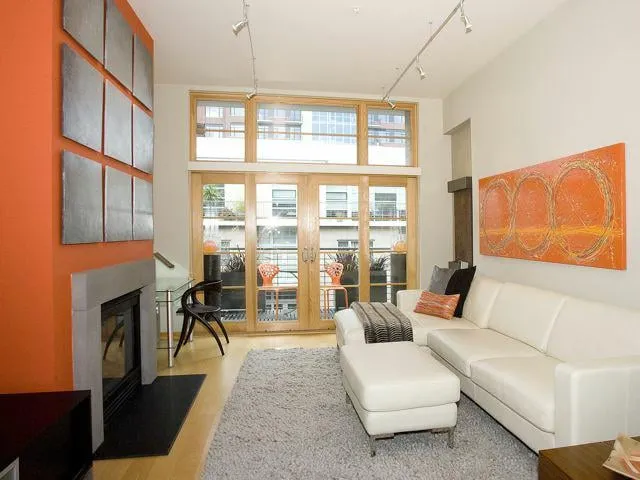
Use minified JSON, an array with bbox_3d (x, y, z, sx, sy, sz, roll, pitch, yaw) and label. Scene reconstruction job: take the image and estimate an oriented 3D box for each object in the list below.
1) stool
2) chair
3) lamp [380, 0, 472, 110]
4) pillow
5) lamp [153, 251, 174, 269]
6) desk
[{"bbox_3d":[0.629,1.263,3.770,0.765,0.558,0.848,-3,12,-11],"label":"stool"},{"bbox_3d":[-1.440,0.893,5.417,0.795,1.068,0.703,2,-3,-7],"label":"chair"},{"bbox_3d":[1.082,-1.986,4.776,0.827,0.769,2.620,1,12,7],"label":"lamp"},{"bbox_3d":[1.440,0.585,5.024,0.177,0.570,0.581,24,-12,-28],"label":"pillow"},{"bbox_3d":[-1.985,0.252,5.595,0.244,0.072,0.065,42,-25,-6],"label":"lamp"},{"bbox_3d":[-1.659,0.924,5.104,0.484,0.663,0.952,0,2,-12],"label":"desk"}]
